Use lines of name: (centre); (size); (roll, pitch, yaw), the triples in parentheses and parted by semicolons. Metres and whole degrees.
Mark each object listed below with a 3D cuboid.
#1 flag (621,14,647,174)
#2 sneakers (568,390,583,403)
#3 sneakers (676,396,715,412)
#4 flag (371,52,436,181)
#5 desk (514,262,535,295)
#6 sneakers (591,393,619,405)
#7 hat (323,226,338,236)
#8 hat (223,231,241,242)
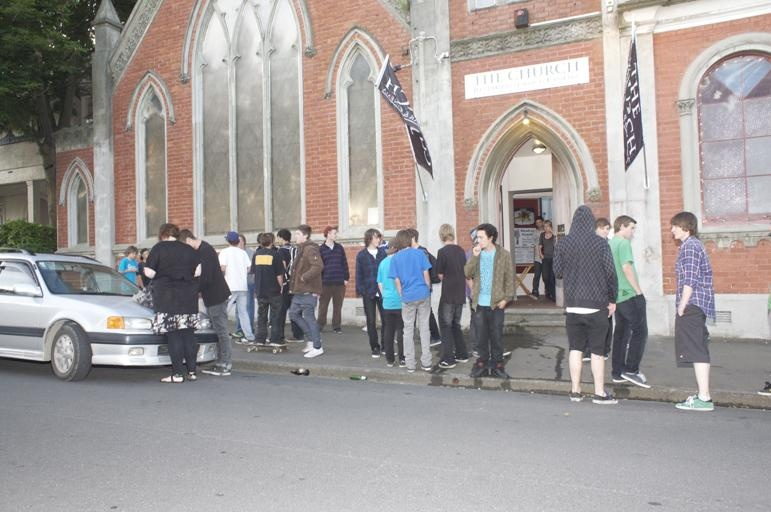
flag: (5.198, -3.226, 17.066); (0.455, 3.027, 1.399); (3, 13, 15)
sneakers: (3.189, 2.369, 13.718); (0.110, 0.104, 0.282); (0, 2, -1)
sneakers: (4.993, 2.401, 13.214); (0.576, 0.253, 0.229); (2, -4, 17)
flag: (0.509, -3.071, 18.567); (0.745, 2.751, 1.406); (9, 15, 36)
desk: (3.802, 0.674, 23.473); (0.826, 0.826, 0.860); (2, -2, 21)
sneakers: (3.645, 2.374, 13.585); (0.465, 0.184, 0.169); (-1, 2, -27)
hat: (-1.187, -0.558, 17.955); (0.254, 0.271, 0.203); (16, 5, 34)
hat: (-3.258, -0.356, 17.471); (0.256, 0.196, 0.331); (-4, 20, -26)
